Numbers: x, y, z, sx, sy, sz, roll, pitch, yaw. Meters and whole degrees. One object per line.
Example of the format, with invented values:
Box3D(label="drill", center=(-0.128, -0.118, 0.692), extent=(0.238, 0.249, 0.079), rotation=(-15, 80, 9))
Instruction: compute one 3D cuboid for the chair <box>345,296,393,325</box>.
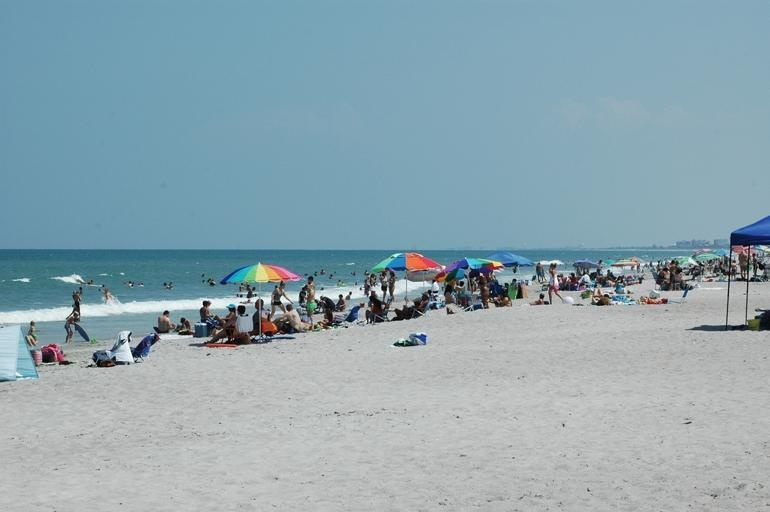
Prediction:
Box3D(label="chair", center=(-0.483, 1.718, 26.952), extent=(1.069, 0.502, 1.080), rotation=(-3, 2, -4))

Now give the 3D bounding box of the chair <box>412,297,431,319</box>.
Box3D(label="chair", center=(1.059, 1.527, 26.718), extent=(0.568, 0.617, 0.463), rotation=(0, -4, -19))
